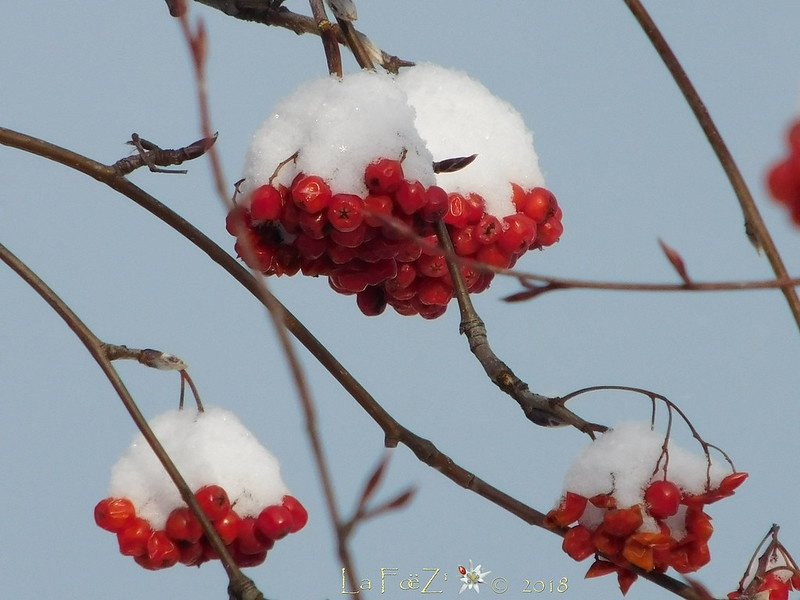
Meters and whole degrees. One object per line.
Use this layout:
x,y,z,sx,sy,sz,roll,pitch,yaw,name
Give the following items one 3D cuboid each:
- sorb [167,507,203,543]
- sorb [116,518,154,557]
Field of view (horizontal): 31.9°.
-0.420,0.442,2.734,0.072,0.077,0.086,0,-86,-1,sorb
-0.534,0.466,2.763,0.056,0.065,0.080,10,-94,2,sorb
